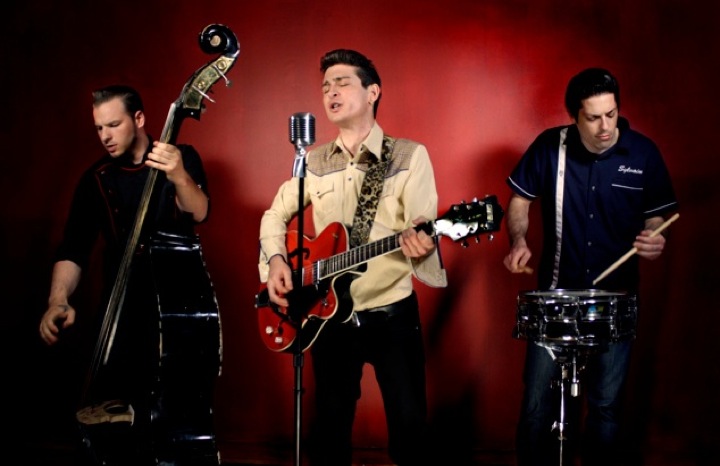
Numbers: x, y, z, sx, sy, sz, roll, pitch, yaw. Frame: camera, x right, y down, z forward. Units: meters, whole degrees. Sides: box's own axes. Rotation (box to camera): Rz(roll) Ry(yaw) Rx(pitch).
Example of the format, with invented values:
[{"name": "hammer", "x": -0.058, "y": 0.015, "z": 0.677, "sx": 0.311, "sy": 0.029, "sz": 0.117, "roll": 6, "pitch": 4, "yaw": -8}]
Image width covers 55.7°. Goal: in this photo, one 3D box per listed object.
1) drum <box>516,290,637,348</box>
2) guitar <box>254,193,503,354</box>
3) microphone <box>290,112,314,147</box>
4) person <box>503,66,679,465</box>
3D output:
[{"name": "drum", "x": 1.352, "y": 0.558, "z": 4.265, "sx": 0.658, "sy": 0.270, "sz": 0.637, "roll": 0, "pitch": -10, "yaw": 0}, {"name": "guitar", "x": -0.018, "y": 0.147, "z": 4.043, "sx": 1.631, "sy": 0.837, "sz": 0.237, "roll": -27, "pitch": -36, "yaw": 34}, {"name": "microphone", "x": -0.325, "y": -0.589, "z": 3.841, "sx": 0.140, "sy": 0.196, "sz": 0.103, "roll": 5, "pitch": -17, "yaw": -12}, {"name": "person", "x": 1.491, "y": 0.228, "z": 4.388, "sx": 1.058, "sy": 2.450, "sz": 1.194, "roll": -6, "pitch": -19, "yaw": 25}]
